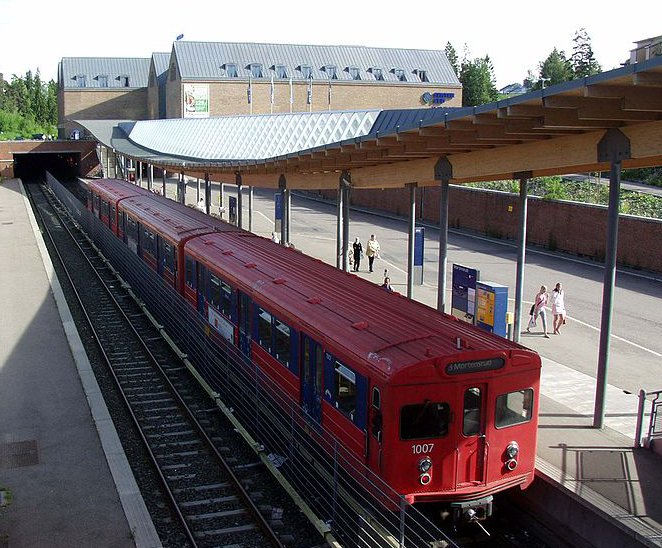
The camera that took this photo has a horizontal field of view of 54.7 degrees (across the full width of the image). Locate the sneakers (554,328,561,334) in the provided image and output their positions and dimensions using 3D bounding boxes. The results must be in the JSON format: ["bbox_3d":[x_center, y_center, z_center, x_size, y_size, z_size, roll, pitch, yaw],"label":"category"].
[{"bbox_3d":[7.162,1.798,20.304,0.063,0.097,0.220,-17,36,-8],"label":"sneakers"}]
